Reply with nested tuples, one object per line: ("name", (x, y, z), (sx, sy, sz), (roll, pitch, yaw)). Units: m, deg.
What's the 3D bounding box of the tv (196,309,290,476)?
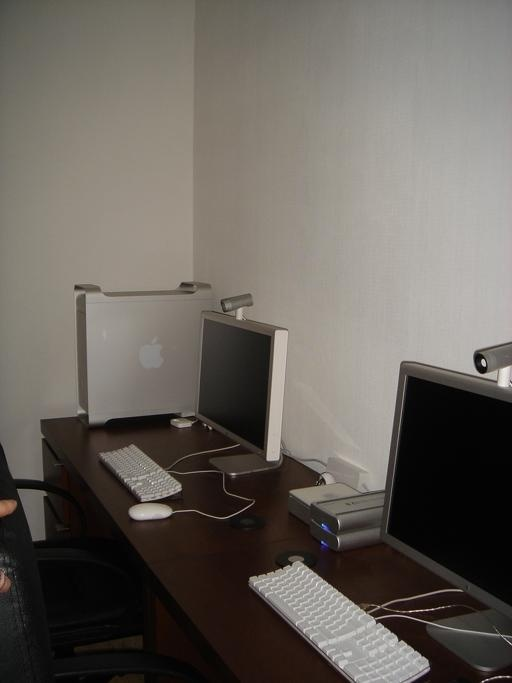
("tv", (-0.040, 0.157, 1.595), (0.139, 0.412, 0.411), (-2, 8, -25))
